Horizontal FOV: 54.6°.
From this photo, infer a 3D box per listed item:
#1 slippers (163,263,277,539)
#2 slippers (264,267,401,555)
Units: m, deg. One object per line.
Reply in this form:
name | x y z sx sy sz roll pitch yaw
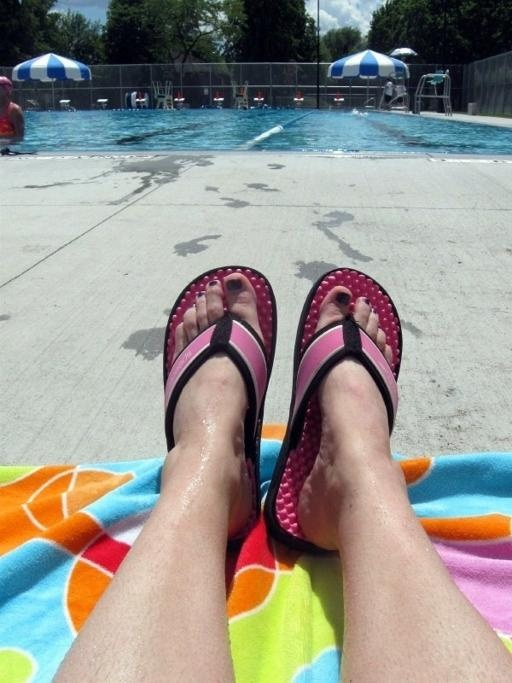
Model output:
slippers | -0.085 0.014 1.452 0.243 0.178 0.817 -2 59 4
slippers | 0.223 0.097 1.405 0.265 0.206 0.900 10 63 3
